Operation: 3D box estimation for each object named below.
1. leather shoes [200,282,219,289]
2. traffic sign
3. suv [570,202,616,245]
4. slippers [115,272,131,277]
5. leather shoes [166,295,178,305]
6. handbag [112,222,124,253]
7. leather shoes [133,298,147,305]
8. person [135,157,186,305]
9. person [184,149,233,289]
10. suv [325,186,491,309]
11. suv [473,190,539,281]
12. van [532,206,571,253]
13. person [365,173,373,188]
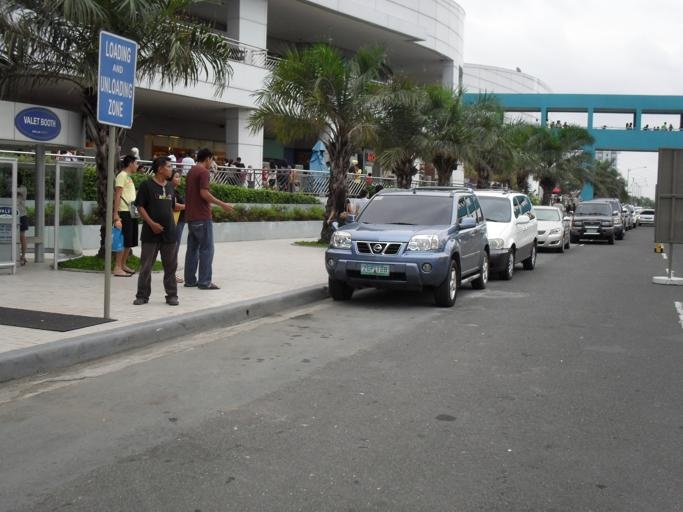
[{"bbox_3d":[-2.591,0.553,9.920,0.363,0.154,0.145,-1,2,-5],"label":"leather shoes"},{"bbox_3d":[-3.129,-2.461,7.006,0.395,1.293,0.739,3,7,-8],"label":"traffic sign"},{"bbox_3d":[14.492,-2.021,29.104,2.223,2.264,1.837,7,8,24],"label":"suv"},{"bbox_3d":[-4.840,0.400,11.188,0.331,0.152,0.122,-2,0,12],"label":"slippers"},{"bbox_3d":[-2.791,0.710,8.352,0.178,0.130,0.317,0,9,-32],"label":"leather shoes"},{"bbox_3d":[-4.823,-0.346,10.885,0.230,0.598,0.499,0,8,-25],"label":"handbag"},{"bbox_3d":[-3.330,0.734,8.385,0.094,0.091,0.200,0,-9,2],"label":"leather shoes"},{"bbox_3d":[-3.042,-0.439,8.432,0.678,2.415,0.652,1,0,-36],"label":"person"},{"bbox_3d":[-2.715,-0.726,9.849,0.791,2.700,0.429,8,8,35],"label":"person"},{"bbox_3d":[1.679,-0.301,10.625,1.997,1.806,3.268,-2,-2,25],"label":"suv"},{"bbox_3d":[4.756,-0.849,14.622,1.722,1.587,3.053,-1,0,28],"label":"suv"},{"bbox_3d":[9.745,-1.452,23.154,1.732,1.541,3.829,-1,0,22],"label":"van"},{"bbox_3d":[1.604,-4.518,30.353,0.355,0.650,1.181,4,8,2],"label":"person"}]
